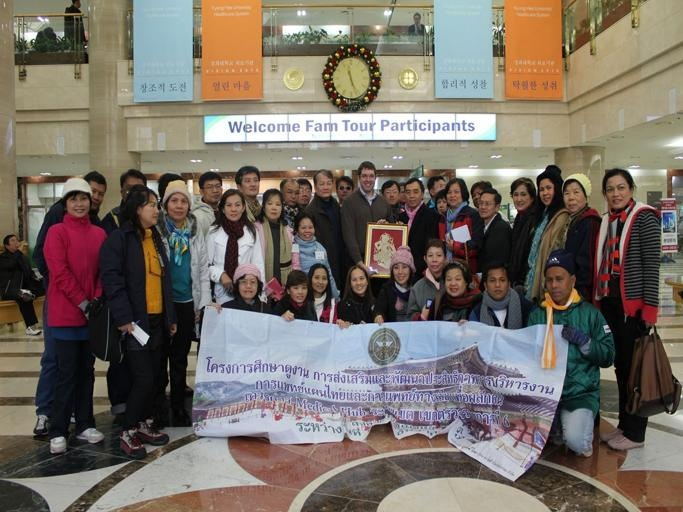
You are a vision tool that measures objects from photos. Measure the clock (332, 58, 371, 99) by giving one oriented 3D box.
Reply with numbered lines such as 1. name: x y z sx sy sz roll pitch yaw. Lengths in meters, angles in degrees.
1. clock: 0.211 -3.947 13.637 0.836 0.873 0.091 2 -3 -2

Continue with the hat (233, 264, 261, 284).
1. hat: -1.014 0.199 6.614 0.213 0.171 0.217 1 -2 -10

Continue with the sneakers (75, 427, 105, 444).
1. sneakers: -2.506 1.792 6.176 0.257 0.112 0.122 3 -3 17

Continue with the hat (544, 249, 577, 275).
1. hat: 2.169 0.063 6.182 0.280 0.238 0.205 33 -29 -26

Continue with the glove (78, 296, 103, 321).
1. glove: -2.395 0.497 5.914 0.154 0.127 0.356 -1 -8 -14

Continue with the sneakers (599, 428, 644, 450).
1. sneakers: 2.711 1.779 6.000 0.260 0.098 0.195 5 -3 -2

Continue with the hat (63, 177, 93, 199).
1. hat: -2.651 -0.688 6.161 0.182 0.137 0.257 -1 -14 -26

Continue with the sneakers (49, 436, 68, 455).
1. sneakers: -2.740 1.831 5.979 0.142 0.161 0.077 -5 6 -23

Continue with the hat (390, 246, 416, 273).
1. hat: 0.721 0.045 7.193 0.249 0.276 0.281 2 -10 8

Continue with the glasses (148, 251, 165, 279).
1. glasses: -1.839 0.089 6.131 0.074 0.198 0.151 -7 -10 43

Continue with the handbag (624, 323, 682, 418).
1. handbag: 2.942 1.094 5.842 0.468 0.791 0.246 -1 5 16

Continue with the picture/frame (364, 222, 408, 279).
1. picture/frame: 0.535 -0.046 7.430 0.647 0.878 0.091 1 -10 4

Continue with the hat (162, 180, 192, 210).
1. hat: -1.721 -0.637 6.459 0.223 0.285 0.287 0 -11 -16

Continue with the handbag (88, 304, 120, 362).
1. handbag: -2.240 0.715 5.864 0.245 0.612 0.434 -5 -6 -35

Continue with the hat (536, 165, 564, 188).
1. hat: 2.307 -0.930 6.763 0.300 0.239 0.310 7 -2 19
